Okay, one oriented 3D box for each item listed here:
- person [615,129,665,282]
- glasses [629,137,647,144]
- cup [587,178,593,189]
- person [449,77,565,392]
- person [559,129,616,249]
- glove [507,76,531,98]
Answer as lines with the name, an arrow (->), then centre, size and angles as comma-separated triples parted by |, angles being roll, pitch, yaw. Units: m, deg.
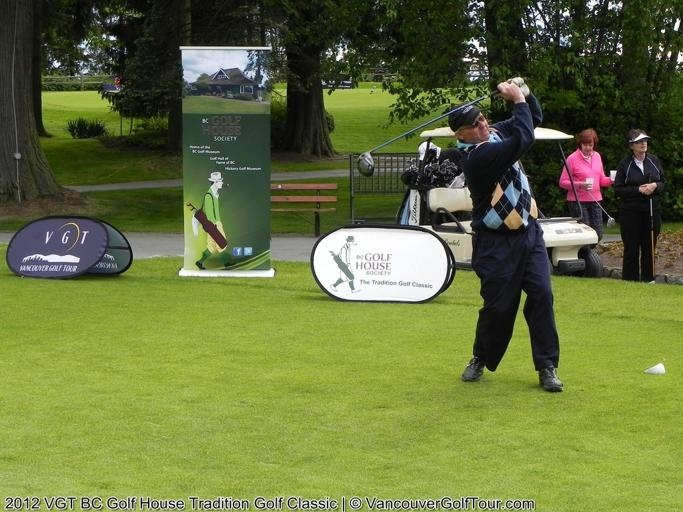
person -> 4.108, -0.688, 15.236 | 0.660, 2.151, 0.667 | 2, 8, 13
glasses -> 4.053, -1.604, 14.986 | 0.221, 0.113, 0.209 | 2, 7, 11
cup -> 3.579, -1.059, 15.824 | 0.106, 0.145, 0.332 | 2, 7, 12
person -> 1.659, -0.238, 10.440 | 1.472, 2.677, 1.066 | 0, 1, -11
person -> 3.578, -1.047, 16.207 | 0.994, 1.779, 0.597 | -2, 7, -21
glove -> 1.705, -1.625, 10.487 | 0.211, 0.198, 0.505 | 2, 7, 9
